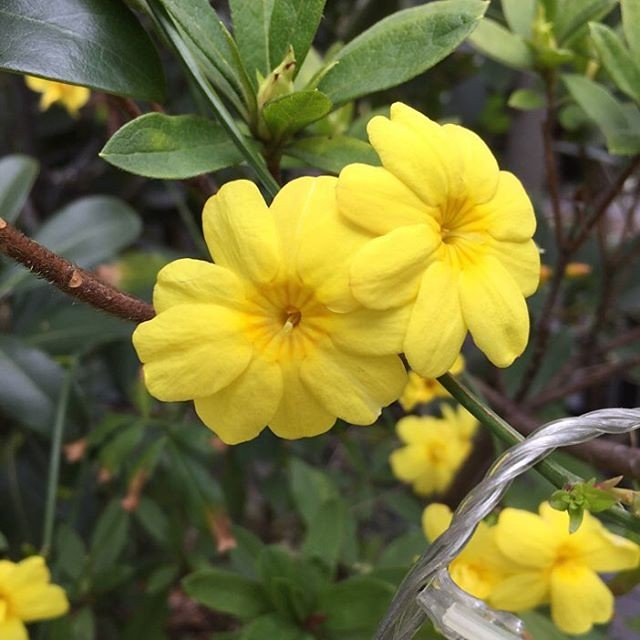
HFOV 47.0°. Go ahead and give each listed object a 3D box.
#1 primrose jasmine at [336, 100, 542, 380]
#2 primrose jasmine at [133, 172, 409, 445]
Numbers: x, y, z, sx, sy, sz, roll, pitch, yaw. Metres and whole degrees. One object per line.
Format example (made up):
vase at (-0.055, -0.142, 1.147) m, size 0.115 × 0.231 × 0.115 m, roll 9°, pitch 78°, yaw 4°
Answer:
primrose jasmine at (0.090, -0.052, 0.418) m, size 0.047 × 0.139 × 0.160 m, roll 18°, pitch 51°, yaw 36°
primrose jasmine at (-0.030, -0.011, 0.465) m, size 0.194 × 0.057 × 0.144 m, roll -14°, pitch 97°, yaw 5°
